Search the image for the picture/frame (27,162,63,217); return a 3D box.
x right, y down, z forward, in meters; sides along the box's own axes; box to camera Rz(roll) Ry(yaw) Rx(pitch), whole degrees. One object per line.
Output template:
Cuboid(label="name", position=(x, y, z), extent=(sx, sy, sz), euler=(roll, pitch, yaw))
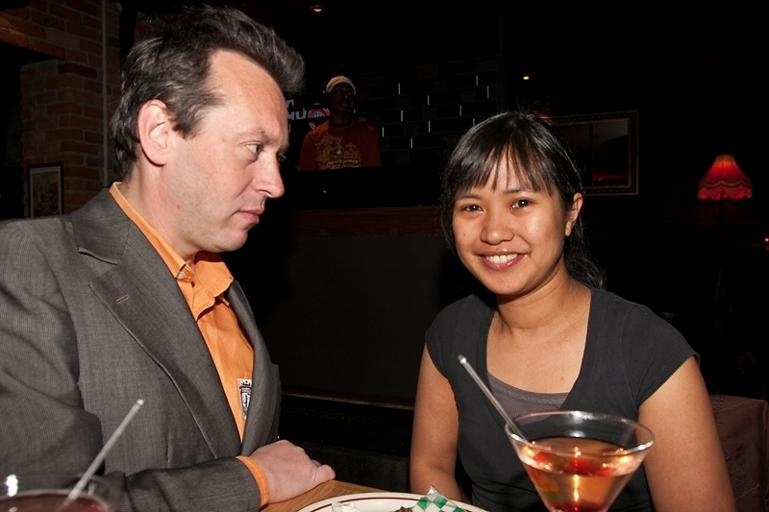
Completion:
Cuboid(label="picture/frame", position=(-2.932, -0.541, 4.999), extent=(0.442, 0.514, 0.020), euler=(0, 3, 20))
